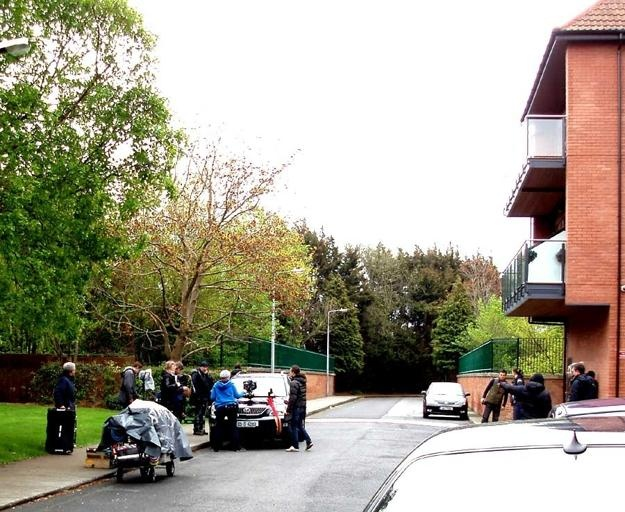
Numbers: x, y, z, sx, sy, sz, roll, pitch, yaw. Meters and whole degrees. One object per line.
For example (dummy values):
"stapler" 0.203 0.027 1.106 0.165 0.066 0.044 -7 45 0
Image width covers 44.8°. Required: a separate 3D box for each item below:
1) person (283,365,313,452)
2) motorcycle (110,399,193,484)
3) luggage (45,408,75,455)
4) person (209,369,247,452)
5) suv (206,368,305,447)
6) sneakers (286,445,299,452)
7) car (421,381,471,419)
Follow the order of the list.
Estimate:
"person" -0.322 3.606 17.855 0.553 1.982 0.917 0 -10 -2
"motorcycle" -2.935 3.254 13.413 1.184 1.331 2.059 -1 -11 12
"luggage" -5.335 3.618 16.094 0.603 1.087 0.577 7 17 -12
"person" -2.075 3.697 18.000 0.699 1.869 1.109 1 -10 -7
"suv" -1.270 3.966 19.626 1.313 1.258 2.420 -2 -21 0
"sneakers" -0.487 4.526 17.656 0.339 0.157 0.130 2 -8 12
"car" 5.749 6.335 32.871 1.879 1.558 2.026 -2 -11 11
